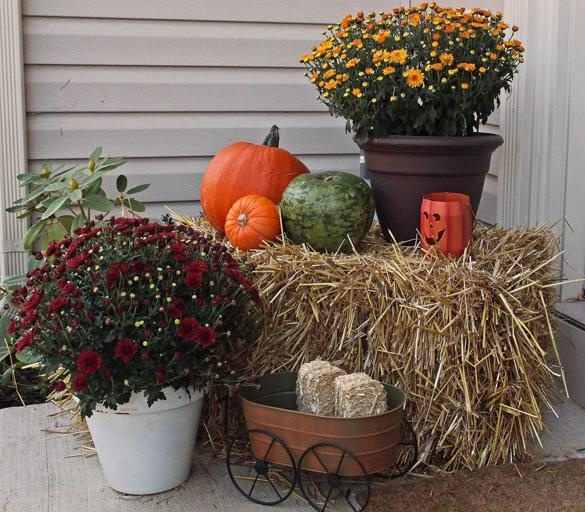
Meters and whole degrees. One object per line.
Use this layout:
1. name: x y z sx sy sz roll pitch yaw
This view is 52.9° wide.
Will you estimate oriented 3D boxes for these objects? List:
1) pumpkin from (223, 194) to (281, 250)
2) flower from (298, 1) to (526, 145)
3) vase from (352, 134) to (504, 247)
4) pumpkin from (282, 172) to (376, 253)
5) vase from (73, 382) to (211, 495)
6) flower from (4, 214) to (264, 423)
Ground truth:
1. pumpkin: -0.133 -0.124 2.153 0.173 0.183 0.191 17 2 -35
2. flower: 0.417 -0.652 2.062 0.749 0.415 0.546 -8 37 -3
3. vase: 0.500 -0.276 2.253 0.473 0.308 0.447 -2 10 -5
4. pumpkin: 0.105 -0.179 2.088 0.303 0.250 0.295 -3 12 -17
5. vase: -0.439 0.548 1.750 0.386 0.253 0.366 -1 5 -3
6. flower: -0.454 0.079 1.757 0.676 0.453 0.619 -12 56 -23
